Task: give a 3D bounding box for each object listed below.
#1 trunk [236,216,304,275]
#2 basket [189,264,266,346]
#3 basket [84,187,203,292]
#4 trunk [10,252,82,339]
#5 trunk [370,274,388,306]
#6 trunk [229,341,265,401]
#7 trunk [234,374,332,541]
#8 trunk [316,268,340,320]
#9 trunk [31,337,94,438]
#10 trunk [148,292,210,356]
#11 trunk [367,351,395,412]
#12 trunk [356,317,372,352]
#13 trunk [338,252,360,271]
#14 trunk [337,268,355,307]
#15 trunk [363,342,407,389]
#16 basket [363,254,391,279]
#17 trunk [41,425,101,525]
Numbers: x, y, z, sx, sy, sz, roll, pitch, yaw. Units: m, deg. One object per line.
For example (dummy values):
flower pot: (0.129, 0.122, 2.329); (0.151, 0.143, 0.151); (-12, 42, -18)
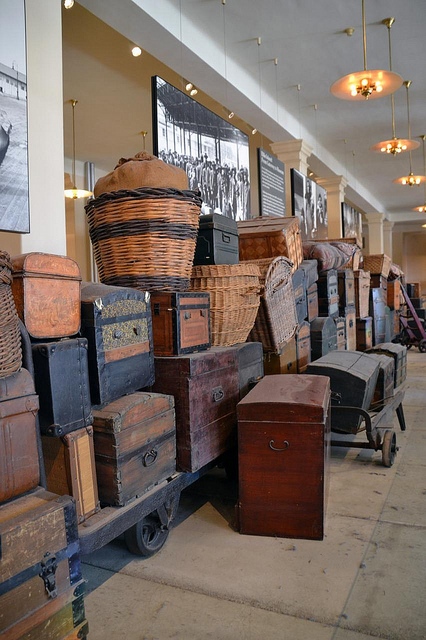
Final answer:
trunk: (0.470, -0.681, 4.017); (0.520, 0.531, 0.429); (-1, 14, 10)
basket: (0.093, -0.109, 2.585); (0.301, 0.440, 0.355); (3, 8, 18)
basket: (-0.291, -0.334, 2.176); (0.395, 0.526, 0.398); (-1, 3, 9)
trunk: (-0.473, -0.075, 1.504); (0.239, 0.295, 0.302); (1, 1, 17)
trunk: (2.357, -0.436, 6.999); (0.290, 0.501, 0.511); (-2, -3, 26)
trunk: (0.197, 0.271, 2.643); (0.148, 0.274, 0.180); (4, 6, 15)
trunk: (0.318, 0.564, 2.383); (0.494, 0.742, 0.860); (0, 3, 12)
trunk: (1.093, -0.257, 4.944); (0.298, 0.453, 0.487); (-2, 5, 18)
trunk: (-0.453, 0.201, 1.475); (0.067, 0.264, 0.187); (-3, 0, 24)
trunk: (-0.110, 0.011, 2.163); (0.232, 0.309, 0.386); (0, 2, 19)
trunk: (1.199, 0.427, 3.627); (0.233, 0.388, 0.422); (14, 4, 22)
trunk: (1.819, 0.175, 5.934); (0.242, 0.405, 0.410); (0, 2, 21)
trunk: (1.647, -0.718, 5.850); (0.070, 0.237, 0.778); (-3, -1, 28)
trunk: (1.431, -0.349, 5.288); (0.255, 0.429, 0.439); (-1, 3, 18)
trunk: (1.411, 0.336, 4.021); (0.326, 0.367, 0.361); (4, 6, 17)
basket: (2.584, -0.863, 7.568); (0.466, 0.302, 0.462); (-5, 8, -31)
trunk: (-0.428, 0.464, 1.499); (0.160, 0.283, 0.129); (1, 5, -5)
